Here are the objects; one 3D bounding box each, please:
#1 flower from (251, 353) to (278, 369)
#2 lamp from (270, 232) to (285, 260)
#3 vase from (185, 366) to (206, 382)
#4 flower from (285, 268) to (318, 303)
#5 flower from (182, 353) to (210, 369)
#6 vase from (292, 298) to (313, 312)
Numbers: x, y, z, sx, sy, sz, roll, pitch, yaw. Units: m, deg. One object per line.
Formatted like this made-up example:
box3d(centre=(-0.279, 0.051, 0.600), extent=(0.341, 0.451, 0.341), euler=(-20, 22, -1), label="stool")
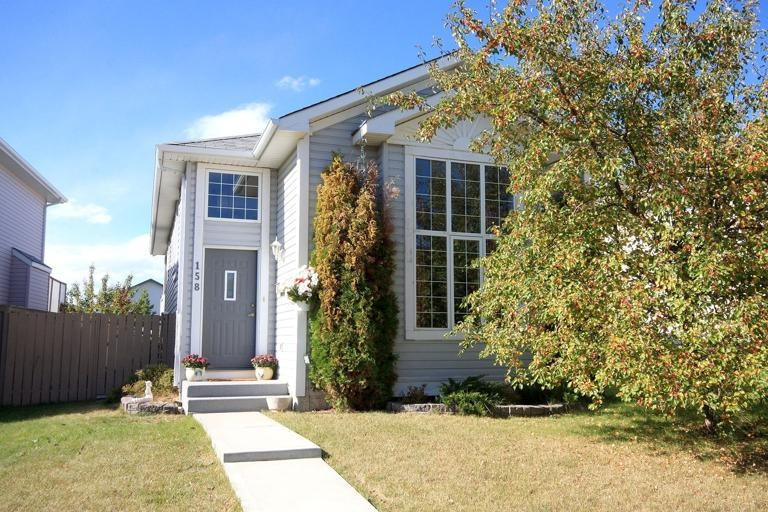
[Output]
box3d(centre=(-2.786, 2.418, 14.498), extent=(0.382, 0.225, 0.381), euler=(6, -5, -36), label="flower")
box3d(centre=(-2.544, -0.176, 14.889), extent=(0.276, 0.599, 0.899), euler=(-1, 5, -14), label="lamp")
box3d(centre=(-4.223, 2.622, 13.923), extent=(0.322, 0.214, 0.324), euler=(9, -16, -32), label="vase")
box3d(centre=(-1.852, 0.733, 13.197), extent=(0.573, 0.428, 0.594), euler=(16, -9, -6), label="flower")
box3d(centre=(-4.271, 2.357, 14.040), extent=(0.593, 0.281, 0.464), euler=(4, 7, 42), label="flower")
box3d(centre=(-1.696, 1.027, 13.157), extent=(0.252, 0.172, 0.239), euler=(-2, -8, 20), label="vase")
